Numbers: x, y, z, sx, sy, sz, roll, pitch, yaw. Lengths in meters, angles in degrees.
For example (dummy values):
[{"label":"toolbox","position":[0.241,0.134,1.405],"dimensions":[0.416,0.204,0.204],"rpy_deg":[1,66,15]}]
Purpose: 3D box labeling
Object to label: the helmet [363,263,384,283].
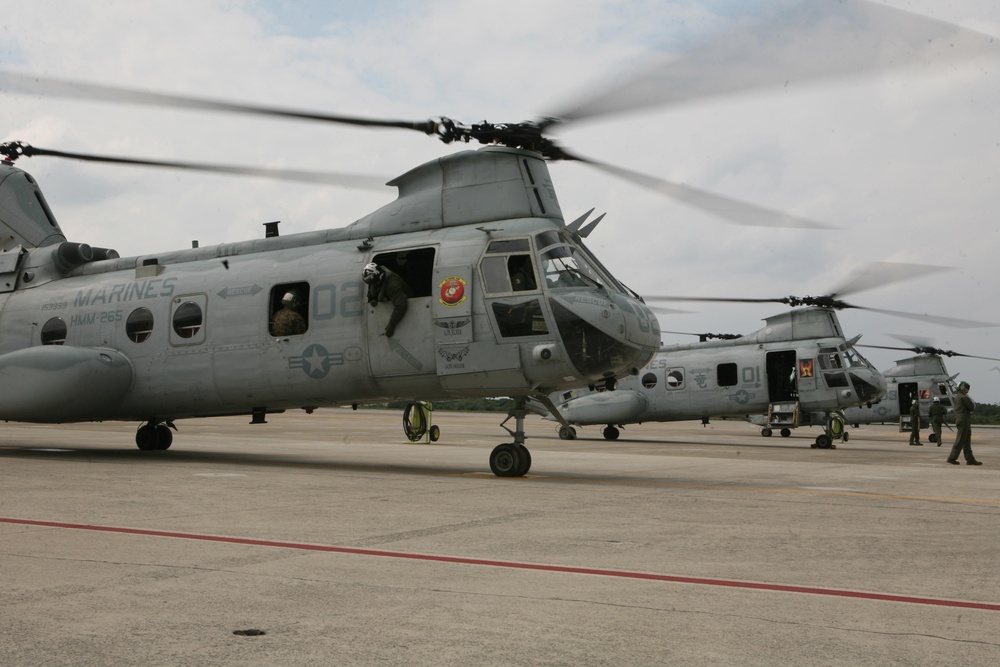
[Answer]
[{"label":"helmet","position":[-2.237,-1.084,12.757],"dimensions":[0.331,0.407,0.344],"rpy_deg":[0,-6,23]}]
